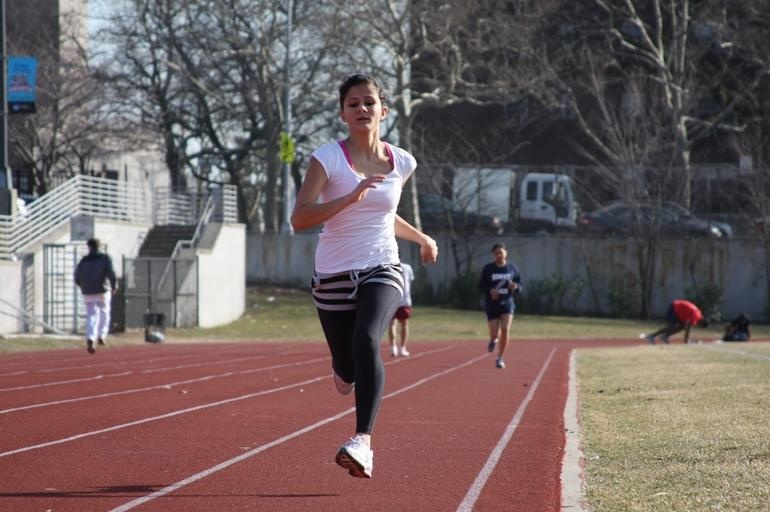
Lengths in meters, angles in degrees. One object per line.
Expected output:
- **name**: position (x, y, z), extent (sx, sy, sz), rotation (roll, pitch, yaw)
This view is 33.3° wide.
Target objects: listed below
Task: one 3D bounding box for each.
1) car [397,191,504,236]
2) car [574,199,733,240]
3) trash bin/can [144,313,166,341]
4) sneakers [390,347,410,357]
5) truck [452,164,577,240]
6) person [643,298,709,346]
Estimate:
- **car**: position (3.022, -1.864, 54.907), extent (4.156, 1.266, 1.782), rotation (2, 2, 21)
- **car**: position (10.814, -1.449, 52.133), extent (5.583, 1.487, 1.198), rotation (0, -1, 0)
- **trash bin/can**: position (-7.867, 2.420, 44.027), extent (0.638, 0.947, 0.835), rotation (0, -1, -12)
- **sneakers**: position (0.389, 2.968, 40.221), extent (0.256, 0.283, 0.671), rotation (3, -6, -39)
- **truck**: position (5.467, -2.446, 54.624), extent (5.393, 2.508, 2.105), rotation (1, 1, 12)
- **person**: position (9.714, 2.190, 42.903), extent (1.942, 1.375, 0.911), rotation (7, 8, 11)
